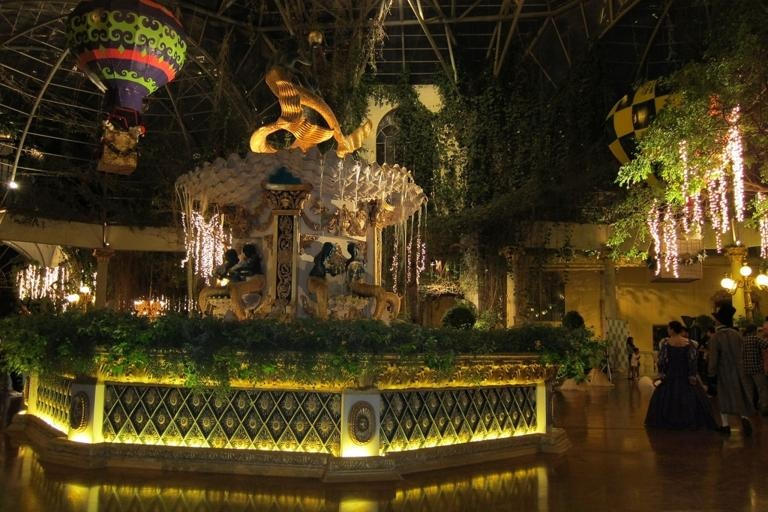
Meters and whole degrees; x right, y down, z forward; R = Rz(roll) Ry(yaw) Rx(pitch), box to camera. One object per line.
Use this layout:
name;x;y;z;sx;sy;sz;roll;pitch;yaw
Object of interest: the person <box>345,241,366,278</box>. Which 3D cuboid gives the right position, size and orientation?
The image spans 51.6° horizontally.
person;-0.566;0.064;15.210;0.363;0.960;0.467;-8;-32;6
